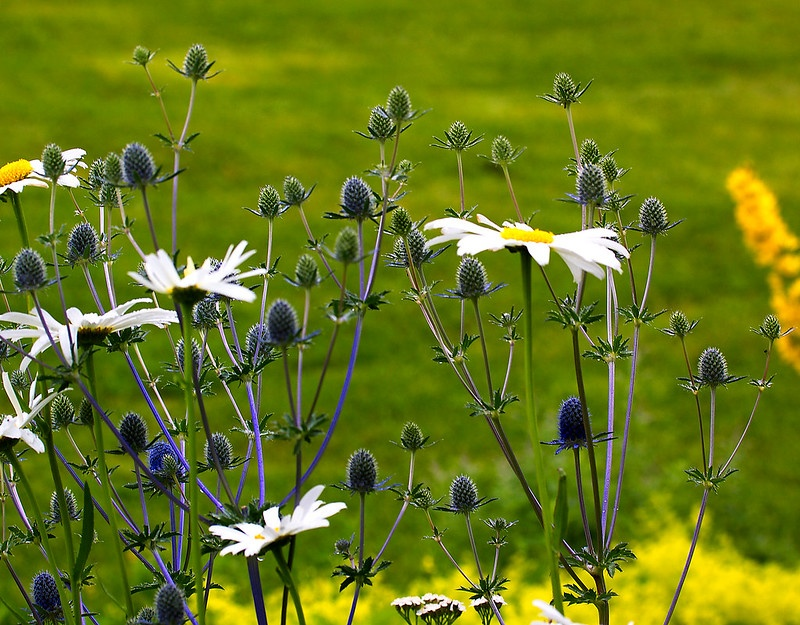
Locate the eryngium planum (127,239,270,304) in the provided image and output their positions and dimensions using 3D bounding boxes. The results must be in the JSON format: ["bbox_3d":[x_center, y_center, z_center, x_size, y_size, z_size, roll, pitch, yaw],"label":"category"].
[{"bbox_3d":[-1.256,-0.213,8.225,0.504,0.301,0.525,-2,1,-20],"label":"eryngium planum"}]

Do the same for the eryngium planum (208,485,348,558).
[{"bbox_3d":[-0.739,1.316,8.251,0.525,0.182,0.566,-21,8,17],"label":"eryngium planum"}]
